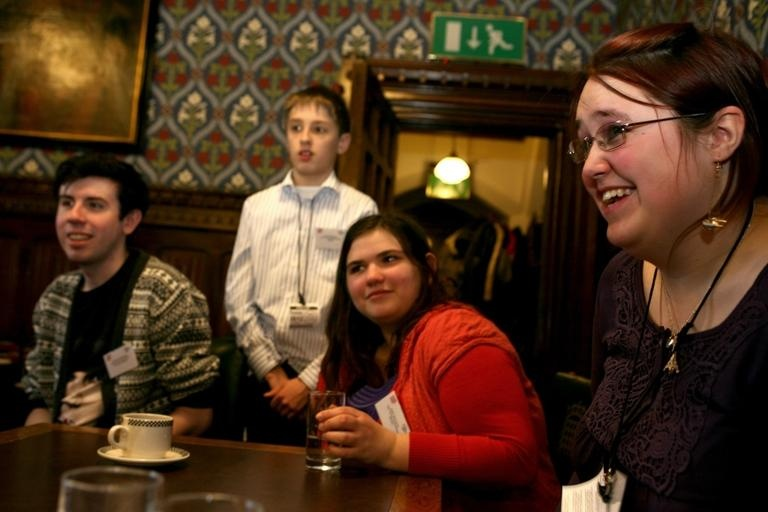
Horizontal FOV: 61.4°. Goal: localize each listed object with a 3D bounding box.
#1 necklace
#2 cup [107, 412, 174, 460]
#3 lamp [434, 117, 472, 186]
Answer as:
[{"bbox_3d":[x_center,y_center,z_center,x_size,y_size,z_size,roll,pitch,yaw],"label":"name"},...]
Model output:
[{"bbox_3d":[0.814,0.131,1.658,0.156,0.534,0.044,24,7,43],"label":"necklace"},{"bbox_3d":[-0.697,0.523,1.863,0.168,0.110,0.110,3,-3,-33],"label":"cup"},{"bbox_3d":[0.663,-0.999,6.296,0.384,0.933,0.399,0,-34,4],"label":"lamp"}]
